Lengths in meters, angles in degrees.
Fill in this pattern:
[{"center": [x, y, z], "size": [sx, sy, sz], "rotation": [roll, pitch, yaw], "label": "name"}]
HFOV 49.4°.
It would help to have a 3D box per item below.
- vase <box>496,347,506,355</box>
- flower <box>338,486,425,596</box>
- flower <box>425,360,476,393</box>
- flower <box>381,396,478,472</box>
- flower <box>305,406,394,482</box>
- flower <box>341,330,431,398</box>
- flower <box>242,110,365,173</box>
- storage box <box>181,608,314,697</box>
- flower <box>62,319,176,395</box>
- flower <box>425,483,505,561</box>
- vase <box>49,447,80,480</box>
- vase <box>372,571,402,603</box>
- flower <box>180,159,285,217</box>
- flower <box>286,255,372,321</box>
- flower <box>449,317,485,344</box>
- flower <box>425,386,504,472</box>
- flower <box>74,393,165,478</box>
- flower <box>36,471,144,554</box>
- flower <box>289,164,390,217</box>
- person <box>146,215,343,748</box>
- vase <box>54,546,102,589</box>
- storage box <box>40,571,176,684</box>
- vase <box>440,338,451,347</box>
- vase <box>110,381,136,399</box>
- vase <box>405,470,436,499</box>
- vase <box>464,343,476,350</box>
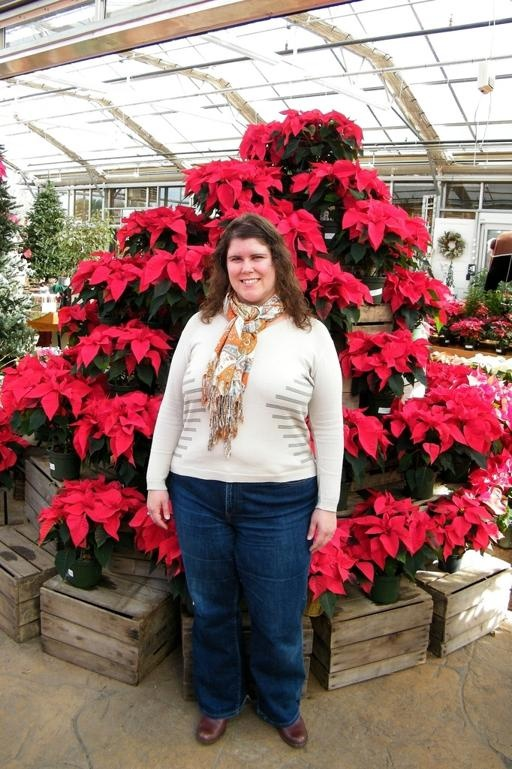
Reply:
[{"center": [2.264, -0.307, 5.149], "size": [0.072, 0.076, 0.132], "rotation": [3, 1, -2], "label": "vase"}, {"center": [0.422, 0.540, 1.714], "size": [0.233, 0.235, 0.251], "rotation": [-21, -26, 39], "label": "flower"}, {"center": [0.734, -0.033, 2.129], "size": [0.155, 0.087, 0.153], "rotation": [-5, -3, 20], "label": "flower"}, {"center": [0.549, 0.123, 1.839], "size": [0.281, 0.195, 0.265], "rotation": [-22, 29, -29], "label": "flower"}, {"center": [0.325, 0.149, 1.680], "size": [0.155, 0.127, 0.149], "rotation": [6, 29, 41], "label": "flower"}, {"center": [0.384, -0.111, 1.694], "size": [0.226, 0.138, 0.226], "rotation": [11, 31, 22], "label": "flower"}, {"center": [0.127, -0.834, 1.881], "size": [0.390, 0.178, 0.431], "rotation": [14, 16, 18], "label": "flower"}, {"center": [-0.034, 0.727, 1.585], "size": [0.277, 0.168, 0.277], "rotation": [1, 0, 0], "label": "storage box"}, {"center": [-0.407, -0.070, 1.758], "size": [0.271, 0.166, 0.270], "rotation": [12, 26, 4], "label": "flower"}, {"center": [0.685, 0.480, 1.848], "size": [0.195, 0.142, 0.196], "rotation": [2, -15, 37], "label": "flower"}, {"center": [-0.661, 0.276, 1.936], "size": [0.097, 0.083, 0.105], "rotation": [0, 3, 2], "label": "vase"}, {"center": [0.401, 0.636, 1.725], "size": [0.097, 0.072, 0.096], "rotation": [1, 6, 0], "label": "vase"}, {"center": [-0.052, -0.615, 1.723], "size": [0.266, 0.145, 0.260], "rotation": [-18, 26, -32], "label": "flower"}, {"center": [0.217, -0.292, 1.662], "size": [0.274, 0.116, 0.291], "rotation": [13, -11, -39], "label": "flower"}, {"center": [2.111, -0.541, 5.564], "size": [0.303, 0.209, 0.297], "rotation": [-2, 20, -2], "label": "flower"}, {"center": [0.659, 0.169, 1.837], "size": [0.230, 0.299, 0.332], "rotation": [4, 6, 3], "label": "flower"}, {"center": [-0.417, 0.126, 1.658], "size": [0.245, 0.157, 0.240], "rotation": [-21, 18, -23], "label": "flower"}, {"center": [-0.490, 0.363, 1.655], "size": [0.253, 0.153, 0.253], "rotation": [6, 16, 18], "label": "flower"}, {"center": [0.243, -0.563, 1.750], "size": [0.217, 0.118, 0.216], "rotation": [15, 13, 11], "label": "flower"}, {"center": [-0.031, 0.241, 1.302], "size": [0.449, 1.212, 0.309], "rotation": [2, 3, 12], "label": "person"}, {"center": [-0.526, 0.555, 1.714], "size": [0.145, 0.136, 0.142], "rotation": [0, 6, -2], "label": "vase"}, {"center": [-0.456, 0.742, 1.750], "size": [0.369, 0.215, 0.272], "rotation": [7, 9, 15], "label": "storage box"}, {"center": [1.982, -0.433, 5.818], "size": [0.084, 0.082, 0.081], "rotation": [0, 0, 9], "label": "vase"}, {"center": [-0.448, 0.017, 1.850], "size": [0.062, 0.043, 0.057], "rotation": [-1, 14, -7], "label": "vase"}, {"center": [0.544, 0.326, 1.893], "size": [0.116, 0.087, 0.112], "rotation": [-1, 8, 1], "label": "vase"}, {"center": [2.114, -0.381, 5.473], "size": [0.083, 0.051, 0.060], "rotation": [-1, 5, -5], "label": "vase"}]
